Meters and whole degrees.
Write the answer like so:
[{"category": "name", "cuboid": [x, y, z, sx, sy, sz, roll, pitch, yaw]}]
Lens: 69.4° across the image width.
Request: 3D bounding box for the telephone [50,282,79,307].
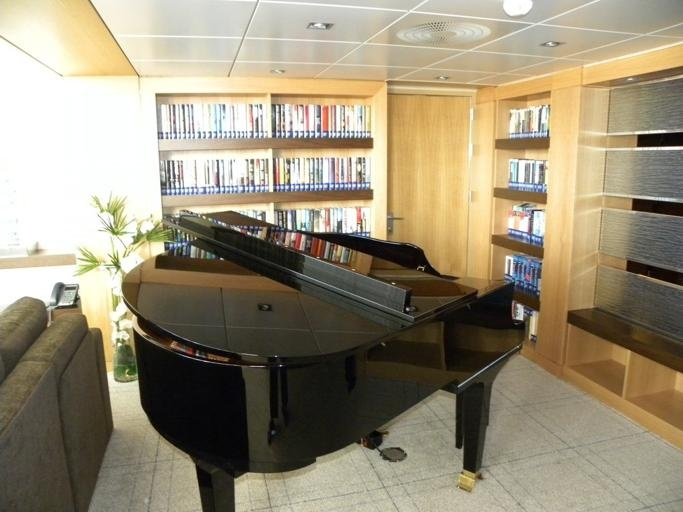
[{"category": "telephone", "cuboid": [-2.795, 0.395, 4.979, 0.303, 0.232, 0.109, 3, -6, -27]}]
